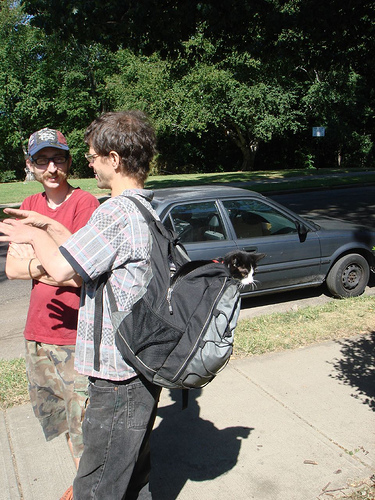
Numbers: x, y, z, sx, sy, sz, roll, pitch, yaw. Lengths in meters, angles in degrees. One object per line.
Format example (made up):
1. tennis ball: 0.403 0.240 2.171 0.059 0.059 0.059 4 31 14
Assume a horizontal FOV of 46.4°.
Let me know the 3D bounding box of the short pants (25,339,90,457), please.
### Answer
1. short pants: -0.649 0.700 2.307 0.428 0.586 0.213 6 13 24

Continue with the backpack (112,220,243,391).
1. backpack: -0.015 0.180 1.514 0.366 0.550 0.389 1 12 21
